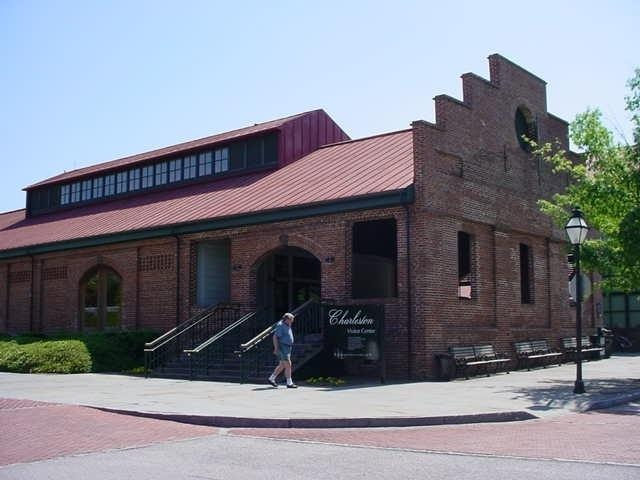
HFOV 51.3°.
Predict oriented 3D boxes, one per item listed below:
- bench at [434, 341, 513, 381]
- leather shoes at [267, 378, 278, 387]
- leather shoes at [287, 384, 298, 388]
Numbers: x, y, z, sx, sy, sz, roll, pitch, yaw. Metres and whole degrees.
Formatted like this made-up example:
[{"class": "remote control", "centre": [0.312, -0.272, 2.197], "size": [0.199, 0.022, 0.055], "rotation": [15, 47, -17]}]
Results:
[{"class": "bench", "centre": [5.047, 3.929, 21.749], "size": [0.971, 1.171, 3.448], "rotation": [-12, -16, 38]}, {"class": "leather shoes", "centre": [-1.300, 3.959, 18.505], "size": [0.236, 0.261, 0.565], "rotation": [-1, -13, -3]}, {"class": "leather shoes", "centre": [-0.762, 3.997, 18.265], "size": [0.238, 0.089, 0.127], "rotation": [-13, -14, 43]}]
